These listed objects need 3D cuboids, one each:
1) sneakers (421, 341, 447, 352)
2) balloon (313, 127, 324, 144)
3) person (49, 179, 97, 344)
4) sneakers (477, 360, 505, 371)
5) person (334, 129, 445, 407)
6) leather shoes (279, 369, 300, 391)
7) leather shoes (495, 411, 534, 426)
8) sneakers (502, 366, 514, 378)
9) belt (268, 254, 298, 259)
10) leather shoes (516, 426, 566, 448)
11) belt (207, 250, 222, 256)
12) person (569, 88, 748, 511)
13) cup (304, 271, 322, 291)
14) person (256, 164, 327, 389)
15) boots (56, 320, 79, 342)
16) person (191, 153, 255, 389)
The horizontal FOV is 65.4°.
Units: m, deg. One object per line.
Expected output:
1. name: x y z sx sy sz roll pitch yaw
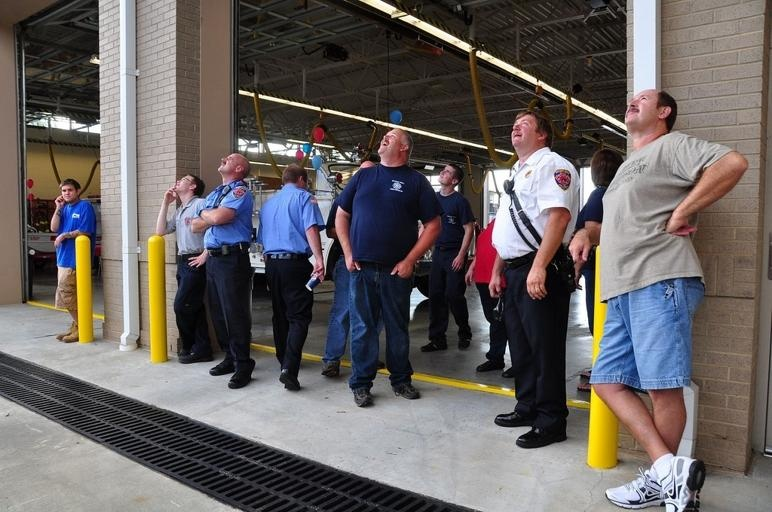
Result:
1. sneakers: 0.589 1.129 7.468 0.346 0.118 0.115 2 -7 -15
2. balloon: -1.493 -2.695 13.203 0.209 0.292 0.515 -2 12 -7
3. person: -4.141 0.052 7.976 0.638 2.088 1.073 -7 15 -25
4. sneakers: 1.133 1.208 6.644 0.363 0.111 0.112 3 -2 -22
5. person: 0.016 0.099 5.628 0.921 2.517 0.730 -2 14 -5
6. leather shoes: -0.956 1.217 5.975 0.238 0.199 0.183 1 13 8
7. leather shoes: 1.079 1.392 5.124 0.322 0.106 0.119 3 -3 3
8. sneakers: 1.275 1.222 6.335 0.104 0.109 0.280 -5 -12 5
9. belt: -1.062 -0.002 6.081 0.303 0.066 0.057 3 14 16
10. leather shoes: 1.225 1.464 4.894 0.421 0.146 0.139 2 -7 -17
11. belt: -1.758 -0.036 6.179 0.162 0.071 0.012 5 15 21
12. person: 1.776 0.399 4.028 0.787 2.393 0.852 5 15 22
13. cup: -0.743 0.260 6.079 0.153 0.206 0.350 -2 12 -7
14. person: -0.945 0.291 6.125 0.635 1.954 0.910 -3 14 -11
15. boots: -4.125 1.014 7.878 0.178 0.185 0.460 7 -8 -6
16. person: -1.644 0.130 6.208 0.638 2.306 1.000 -4 14 -15
